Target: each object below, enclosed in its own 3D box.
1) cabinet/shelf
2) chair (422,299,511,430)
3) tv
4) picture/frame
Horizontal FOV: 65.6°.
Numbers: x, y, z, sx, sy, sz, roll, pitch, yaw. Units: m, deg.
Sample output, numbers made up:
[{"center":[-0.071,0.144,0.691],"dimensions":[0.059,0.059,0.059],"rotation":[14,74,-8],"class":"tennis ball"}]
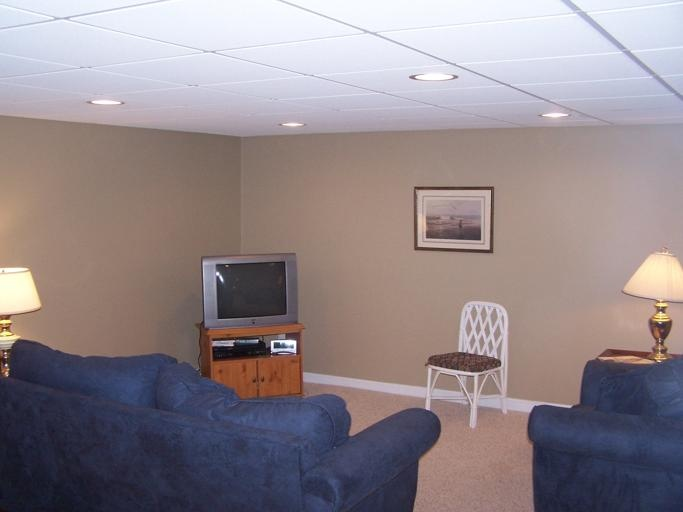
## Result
[{"center":[-0.898,1.156,5.561],"dimensions":[1.012,0.744,0.580],"rotation":[-1,-10,-8],"class":"cabinet/shelf"},{"center":[1.222,1.017,5.163],"dimensions":[0.723,1.039,0.674],"rotation":[-3,5,-34],"class":"chair"},{"center":[-0.842,0.380,5.696],"dimensions":[1.176,0.768,0.609],"rotation":[-4,-5,14],"class":"tv"},{"center":[1.189,-0.387,5.433],"dimensions":[0.781,0.605,0.052],"rotation":[2,9,21],"class":"picture/frame"}]
